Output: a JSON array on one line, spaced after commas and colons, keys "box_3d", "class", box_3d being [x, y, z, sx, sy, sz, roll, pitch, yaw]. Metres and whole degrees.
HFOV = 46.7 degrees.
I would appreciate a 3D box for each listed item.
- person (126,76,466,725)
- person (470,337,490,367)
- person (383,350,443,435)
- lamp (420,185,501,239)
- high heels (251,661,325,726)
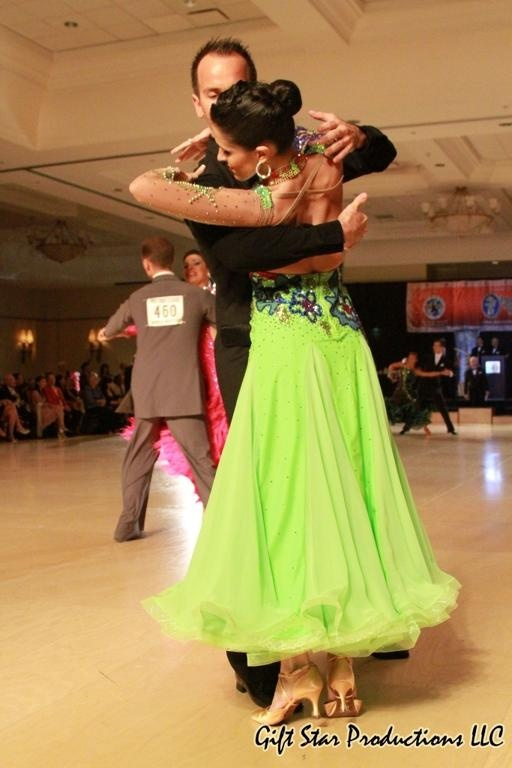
[{"box_3d": [0.089, 0.083, 1.286, 0.675, 1.302, 0.403, 1, -4, -34], "class": "person"}, {"box_3d": [7.046, -1.073, 18.766, 0.440, 0.879, 0.958, -3, -4, 30], "class": "person"}, {"box_3d": [3.199, 0.227, 11.996, 1.181, 1.636, 1.066, 3, 11, 16], "class": "person"}, {"box_3d": [4.432, -3.672, 12.863, 1.112, 0.648, 1.093, 4, -6, -34], "class": "lamp"}, {"box_3d": [0.062, 0.642, 1.252, 0.127, 0.148, 0.115, 0, -3, -16], "class": "high heels"}]
